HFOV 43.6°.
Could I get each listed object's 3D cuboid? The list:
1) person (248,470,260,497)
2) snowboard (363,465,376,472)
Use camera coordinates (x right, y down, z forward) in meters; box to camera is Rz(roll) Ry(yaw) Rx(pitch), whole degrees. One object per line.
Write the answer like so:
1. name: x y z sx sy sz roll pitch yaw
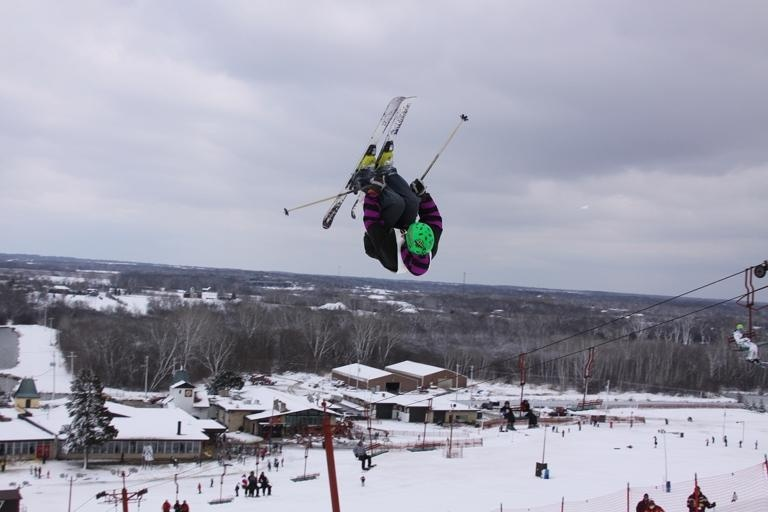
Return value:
1. person: -8.551 14.658 61.952 0.630 1.277 1.227 0 6 -8
2. snowboard: -1.046 14.414 65.251 1.089 0.242 0.290 -20 -2 30
